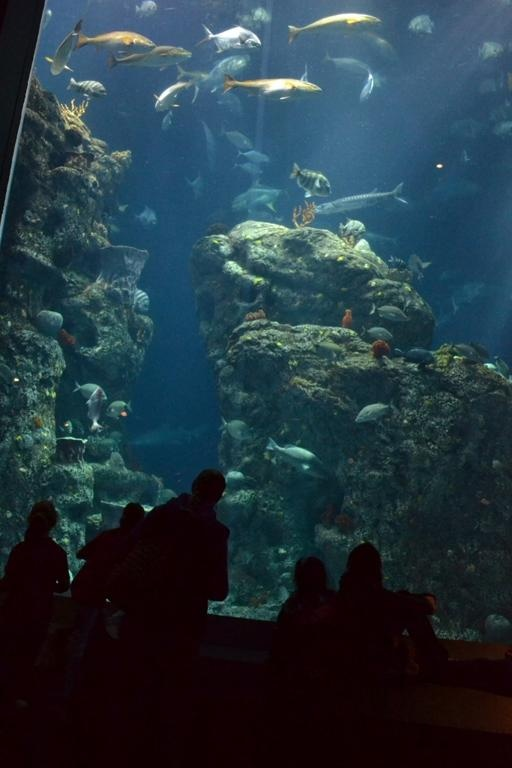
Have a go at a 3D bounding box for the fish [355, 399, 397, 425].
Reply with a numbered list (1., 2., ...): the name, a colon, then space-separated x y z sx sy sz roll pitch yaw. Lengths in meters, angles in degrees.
1. fish: 2.024 0.478 10.947 0.534 0.138 0.264 -22 38 3

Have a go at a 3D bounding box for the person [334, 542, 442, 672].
1. person: 1.201 2.010 5.850 0.973 1.061 0.304 5 7 -2

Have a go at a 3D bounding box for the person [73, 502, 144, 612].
1. person: -1.334 1.497 5.980 0.493 0.989 0.297 9 16 -31
